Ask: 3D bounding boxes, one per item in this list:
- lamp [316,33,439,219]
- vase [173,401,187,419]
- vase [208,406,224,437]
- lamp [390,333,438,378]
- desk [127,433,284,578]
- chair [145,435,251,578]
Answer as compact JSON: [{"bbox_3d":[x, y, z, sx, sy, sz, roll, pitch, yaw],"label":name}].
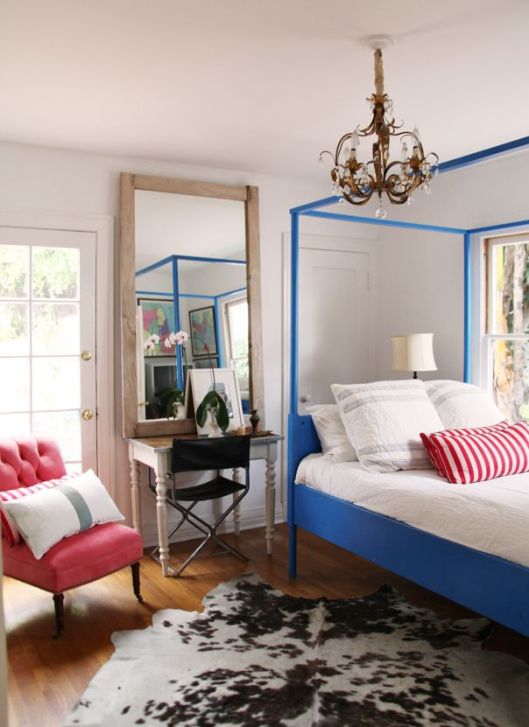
[{"bbox_3d":[0.458,-0.947,2.271,0.464,0.709,0.482,-1,-1,17],"label":"lamp"},{"bbox_3d":[-0.534,0.308,3.677,0.096,0.112,0.098,-3,-2,10],"label":"vase"},{"bbox_3d":[-0.298,0.360,3.467,0.091,0.175,0.162,-1,-1,-6],"label":"vase"},{"bbox_3d":[0.934,-0.036,3.771,0.261,0.355,0.268,-1,1,5],"label":"lamp"},{"bbox_3d":[-0.375,0.801,3.527,0.810,0.702,0.650,-2,2,-34],"label":"desk"},{"bbox_3d":[-0.368,0.773,3.315,0.541,0.744,0.527,0,1,-13],"label":"chair"}]
